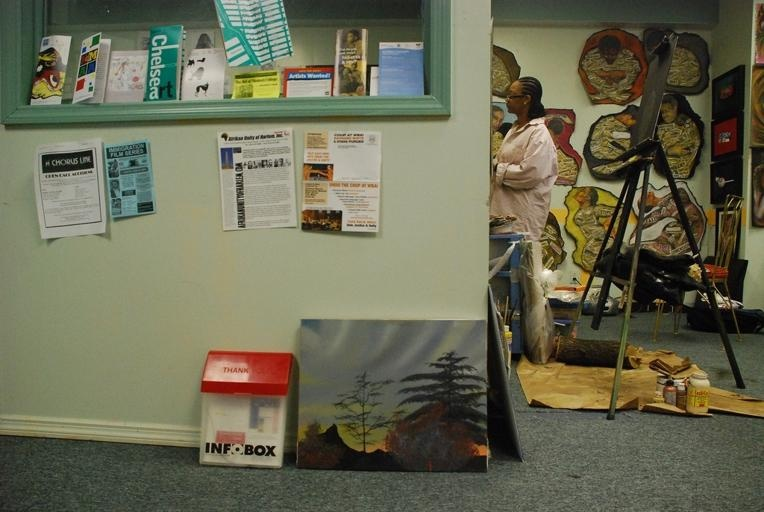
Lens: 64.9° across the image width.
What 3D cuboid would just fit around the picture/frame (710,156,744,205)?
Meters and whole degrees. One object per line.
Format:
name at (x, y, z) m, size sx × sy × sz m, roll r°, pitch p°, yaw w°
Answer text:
picture/frame at (3.447, -0.734, 6.006) m, size 0.349 × 0.323 × 0.031 m, roll 2°, pitch -1°, yaw -12°

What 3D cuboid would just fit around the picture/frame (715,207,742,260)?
picture/frame at (3.384, -0.207, 5.838) m, size 0.281 × 0.489 × 0.027 m, roll -3°, pitch 9°, yaw -12°

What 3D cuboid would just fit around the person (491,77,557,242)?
person at (1.092, -0.763, 4.738) m, size 0.555 × 1.242 × 0.511 m, roll -5°, pitch 11°, yaw -17°

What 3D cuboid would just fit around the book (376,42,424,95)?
book at (0.093, -0.899, 2.940) m, size 0.226 × 0.293 × 0.027 m, roll 1°, pitch 48°, yaw 0°
